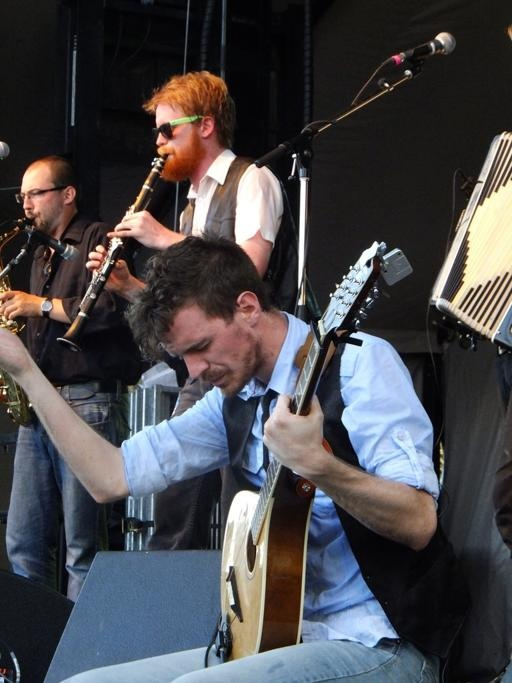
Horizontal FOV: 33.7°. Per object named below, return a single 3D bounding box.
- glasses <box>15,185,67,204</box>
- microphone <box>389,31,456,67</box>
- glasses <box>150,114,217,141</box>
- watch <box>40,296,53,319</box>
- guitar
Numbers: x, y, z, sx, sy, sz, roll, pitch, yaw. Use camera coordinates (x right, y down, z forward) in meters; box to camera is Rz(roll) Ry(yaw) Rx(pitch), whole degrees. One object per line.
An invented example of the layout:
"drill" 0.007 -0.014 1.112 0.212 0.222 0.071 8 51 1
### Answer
"glasses" -0.850 -0.603 3.405 0.117 0.032 0.110 -16 2 -29
"microphone" 0.553 -0.963 2.785 0.175 0.129 0.258 13 14 14
"glasses" -0.270 -0.748 2.925 0.115 0.033 0.108 -21 8 -18
"watch" -0.754 -0.121 3.074 0.042 0.064 0.061 19 -13 6
"guitar" 0.081 0.247 1.709 0.175 0.968 0.492 9 15 -4
